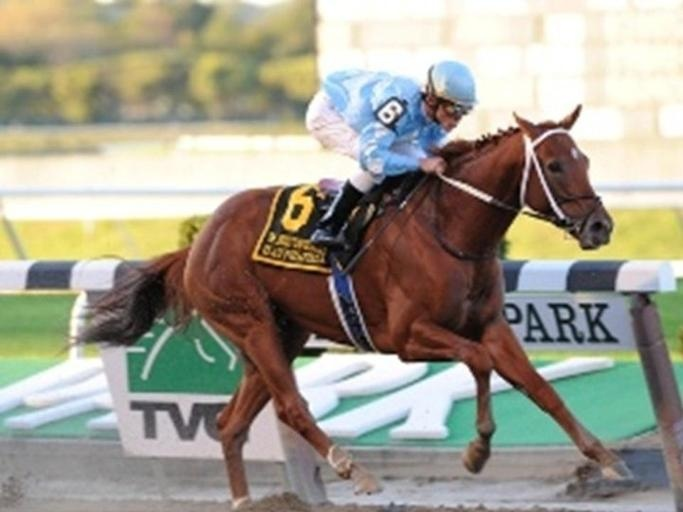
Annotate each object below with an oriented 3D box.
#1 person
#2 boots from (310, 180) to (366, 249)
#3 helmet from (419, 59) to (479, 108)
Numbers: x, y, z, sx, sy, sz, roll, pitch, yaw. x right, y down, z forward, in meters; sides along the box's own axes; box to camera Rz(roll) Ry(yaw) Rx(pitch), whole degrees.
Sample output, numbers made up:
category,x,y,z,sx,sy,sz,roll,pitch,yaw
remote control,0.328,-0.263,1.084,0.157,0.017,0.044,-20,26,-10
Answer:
category,x,y,z,sx,sy,sz,roll,pitch,yaw
person,0.229,-0.629,8.278,0.927,1.076,0.629,28,30,31
boots,-0.030,-0.210,8.167,0.118,0.442,0.176,-5,46,-51
helmet,0.575,-0.926,8.083,0.212,0.262,0.205,-8,-25,-25
